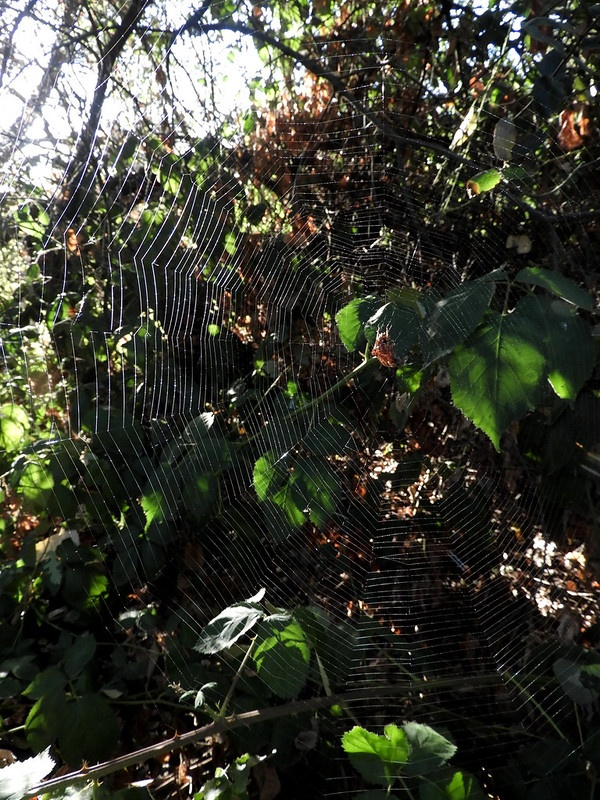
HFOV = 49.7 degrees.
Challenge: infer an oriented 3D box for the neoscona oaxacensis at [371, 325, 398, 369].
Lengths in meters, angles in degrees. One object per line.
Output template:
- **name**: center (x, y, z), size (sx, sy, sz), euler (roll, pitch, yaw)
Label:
- **neoscona oaxacensis**: center (0.377, -0.240, 2.951), size (0.060, 0.100, 0.165), euler (19, -37, 50)
